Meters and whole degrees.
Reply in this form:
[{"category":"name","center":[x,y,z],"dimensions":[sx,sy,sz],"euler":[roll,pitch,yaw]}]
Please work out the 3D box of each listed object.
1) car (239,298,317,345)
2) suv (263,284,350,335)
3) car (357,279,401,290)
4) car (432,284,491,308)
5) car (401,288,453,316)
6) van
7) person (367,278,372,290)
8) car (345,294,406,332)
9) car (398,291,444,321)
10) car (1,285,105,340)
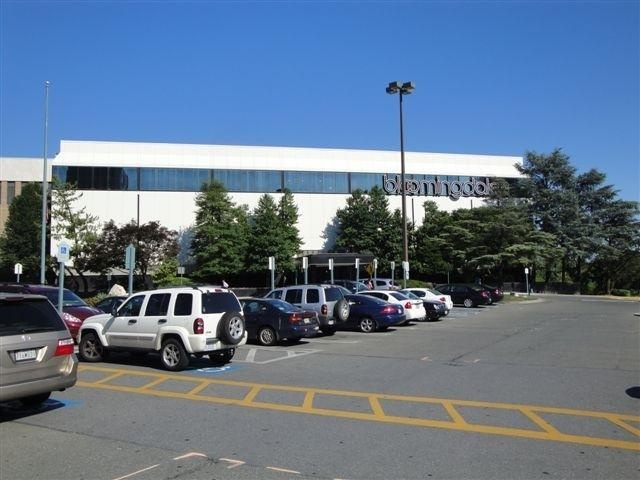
[{"category":"car","center":[-1.503,2.672,18.473],"dimensions":[2.677,0.882,1.250],"euler":[0,-3,28]},{"category":"suv","center":[-0.570,2.537,21.294],"dimensions":[3.142,1.318,1.668],"euler":[2,0,31]},{"category":"car","center":[4.075,2.978,37.841],"dimensions":[2.230,1.069,1.312],"euler":[2,-4,5]},{"category":"car","center":[9.425,3.596,36.772],"dimensions":[3.591,1.168,1.662],"euler":[1,-3,16]},{"category":"car","center":[5.427,3.055,27.718],"dimensions":[2.626,0.967,1.228],"euler":[1,-2,25]},{"category":"van","center":[-4.017,2.170,14.687],"dimensions":[3.734,1.620,2.072],"euler":[1,-3,27]},{"category":"person","center":[3.220,2.851,35.922],"dimensions":[0.454,0.715,0.272],"euler":[-1,-5,10]},{"category":"car","center":[2.217,2.907,22.021],"dimensions":[2.477,0.808,1.147],"euler":[1,-2,21]},{"category":"car","center":[4.840,3.232,27.405],"dimensions":[2.391,0.788,1.121],"euler":[0,-1,35]},{"category":"car","center":[-7.772,2.310,17.484],"dimensions":[3.697,1.555,1.821],"euler":[-2,-4,23]}]
